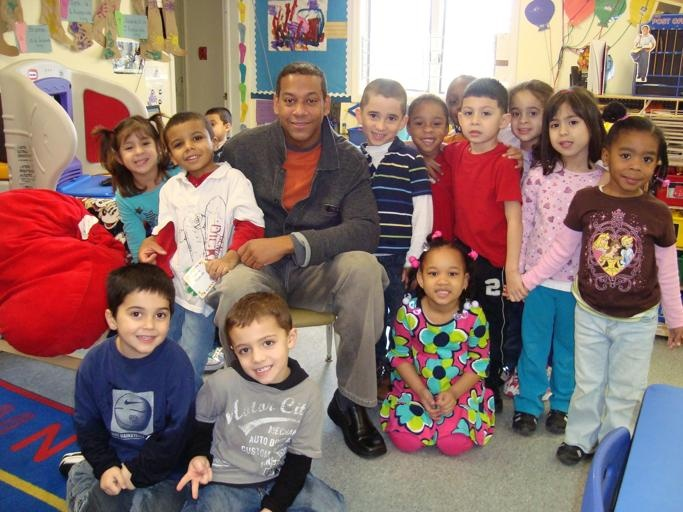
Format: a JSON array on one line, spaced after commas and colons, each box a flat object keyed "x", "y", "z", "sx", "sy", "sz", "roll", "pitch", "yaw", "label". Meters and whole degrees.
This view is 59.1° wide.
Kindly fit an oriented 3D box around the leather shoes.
[{"x": 0.049, "y": 0.660, "z": 2.465, "sx": 0.128, "sy": 0.142, "sz": 0.327, "roll": -15, "pitch": 29, "yaw": -31, "label": "leather shoes"}]

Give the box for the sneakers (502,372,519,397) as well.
[{"x": 0.786, "y": 0.625, "z": 2.833, "sx": 0.047, "sy": 0.129, "sz": 0.056, "roll": 19, "pitch": 12, "yaw": 9, "label": "sneakers"}]
